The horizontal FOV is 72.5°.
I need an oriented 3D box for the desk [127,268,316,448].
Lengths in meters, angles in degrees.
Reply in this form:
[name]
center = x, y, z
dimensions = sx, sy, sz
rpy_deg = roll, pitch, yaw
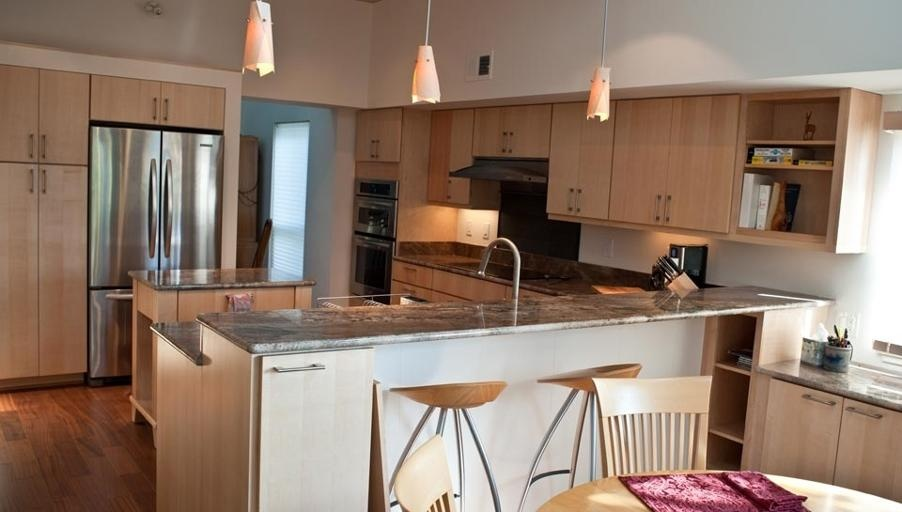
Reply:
[desk]
center = -2.155, 0.802, 5.541
dimensions = 1.286, 1.354, 0.722
rpy_deg = -4, 7, -32

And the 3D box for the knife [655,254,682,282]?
[knife]
center = 1.860, 0.104, 5.264
dimensions = 0.189, 0.238, 0.089
rpy_deg = 33, -4, 38

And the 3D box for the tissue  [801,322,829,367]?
[tissue ]
center = 2.796, 0.672, 4.706
dimensions = 0.181, 0.308, 0.122
rpy_deg = 5, 8, 39

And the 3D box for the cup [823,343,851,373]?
[cup]
center = 2.888, 0.759, 4.682
dimensions = 0.202, 0.207, 0.218
rpy_deg = 5, 4, 0

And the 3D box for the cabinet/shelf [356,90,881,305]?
[cabinet/shelf]
center = 1.377, -0.858, 6.106
dimensions = 4.680, 1.581, 0.512
rpy_deg = 3, 8, 36

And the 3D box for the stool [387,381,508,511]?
[stool]
center = -0.023, 1.217, 3.909
dimensions = 0.723, 0.967, 0.434
rpy_deg = -1, 6, 0
